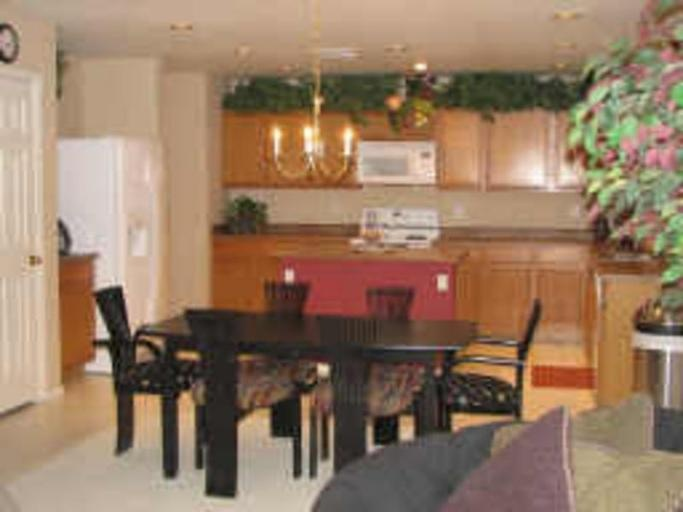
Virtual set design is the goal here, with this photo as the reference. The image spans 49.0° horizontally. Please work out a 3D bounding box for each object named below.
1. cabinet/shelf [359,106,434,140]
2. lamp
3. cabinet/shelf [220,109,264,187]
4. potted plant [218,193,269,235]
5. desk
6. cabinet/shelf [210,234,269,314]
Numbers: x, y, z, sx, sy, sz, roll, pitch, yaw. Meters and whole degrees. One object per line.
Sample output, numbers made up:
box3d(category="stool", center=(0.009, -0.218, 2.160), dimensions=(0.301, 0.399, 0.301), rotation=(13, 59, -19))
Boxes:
box3d(category="cabinet/shelf", center=(0.451, -1.055, 6.070), dimensions=(0.648, 0.215, 0.097), rotation=(-2, 5, -12))
box3d(category="lamp", center=(-0.230, -1.205, 5.386), dimensions=(0.698, 1.509, 0.693), rotation=(-2, 8, -13))
box3d(category="cabinet/shelf", center=(-0.760, -0.851, 5.883), dimensions=(0.358, 0.590, 0.184), rotation=(-1, 5, -9))
box3d(category="potted plant", center=(-0.732, -0.323, 5.703), dimensions=(0.347, 0.281, 0.440), rotation=(-1, 5, -8))
box3d(category="desk", center=(-0.536, 0.693, 3.469), dimensions=(0.609, 0.469, 0.886), rotation=(-21, -2, -21))
box3d(category="cabinet/shelf", center=(-0.713, 0.132, 5.297), dimensions=(0.504, 0.493, 0.278), rotation=(0, -7, 4))
